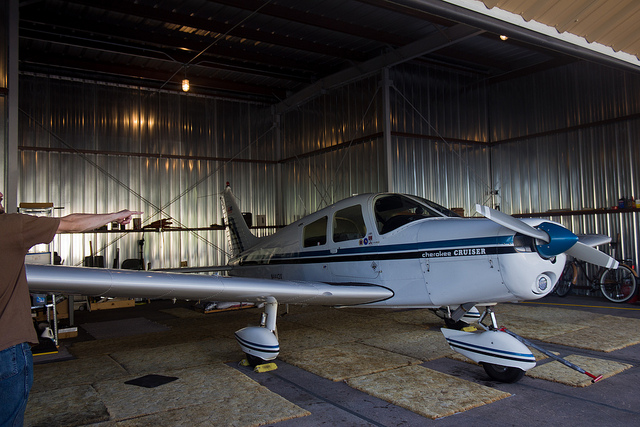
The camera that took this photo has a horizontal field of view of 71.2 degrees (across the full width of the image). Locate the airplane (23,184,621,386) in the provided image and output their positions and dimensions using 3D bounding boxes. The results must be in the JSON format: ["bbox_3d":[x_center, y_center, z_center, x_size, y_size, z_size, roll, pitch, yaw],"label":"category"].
[{"bbox_3d":[0.616,0.904,5.733,5.252,2.241,4.063,0,5,11],"label":"airplane"}]

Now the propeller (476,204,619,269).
[{"bbox_3d":[2.594,0.286,5.032,1.411,0.285,0.413,-6,-16,-6],"label":"propeller"}]
